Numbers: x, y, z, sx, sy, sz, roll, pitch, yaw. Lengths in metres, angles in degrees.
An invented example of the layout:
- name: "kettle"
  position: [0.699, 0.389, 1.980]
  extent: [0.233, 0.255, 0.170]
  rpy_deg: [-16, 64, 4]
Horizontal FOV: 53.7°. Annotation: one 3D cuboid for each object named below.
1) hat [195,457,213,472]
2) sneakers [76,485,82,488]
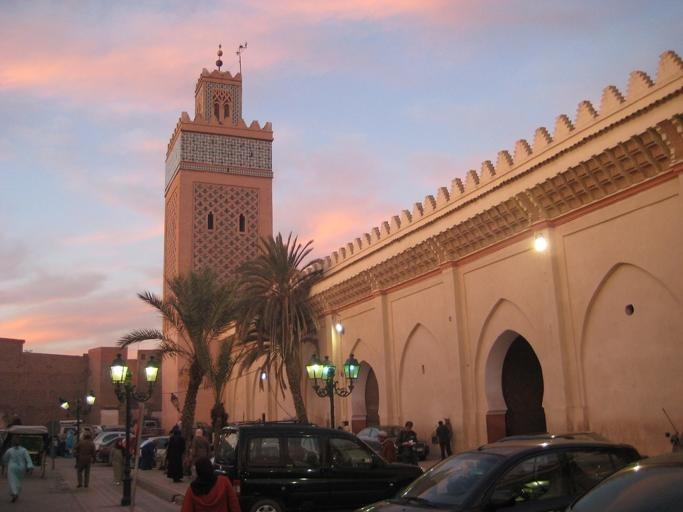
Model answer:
- name: "hat"
  position: [-1.524, 2.330, 7.478]
  extent: [0.178, 0.181, 0.446]
  rpy_deg: [2, -18, -12]
- name: "sneakers"
  position: [-7.148, 6.334, 18.468]
  extent: [0.115, 0.037, 0.082]
  rpy_deg: [4, -5, -42]
